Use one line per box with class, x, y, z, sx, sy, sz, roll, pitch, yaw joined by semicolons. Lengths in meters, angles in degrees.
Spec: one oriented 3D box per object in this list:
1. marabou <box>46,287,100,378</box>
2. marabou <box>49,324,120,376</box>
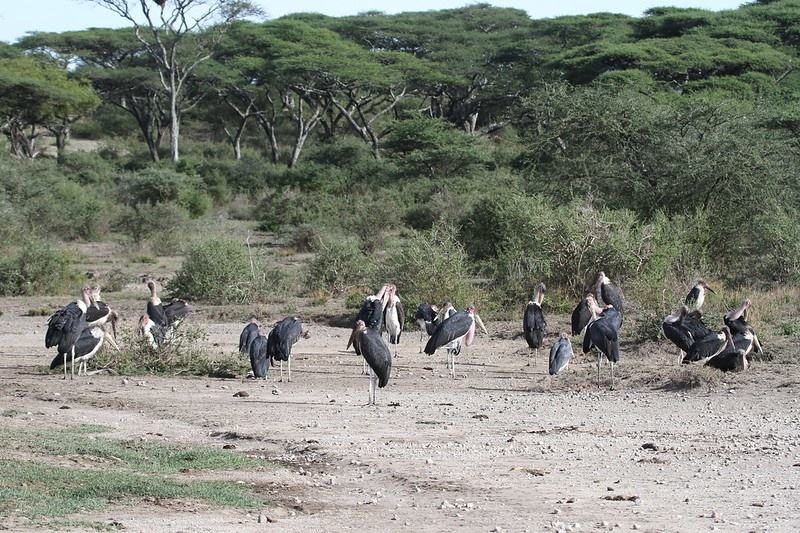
marabou;-7.669;1.751;26.580;0.821;1.640;0.914;0;0;-16
marabou;-7.254;1.838;26.811;1.957;1.268;0.594;3;28;4
